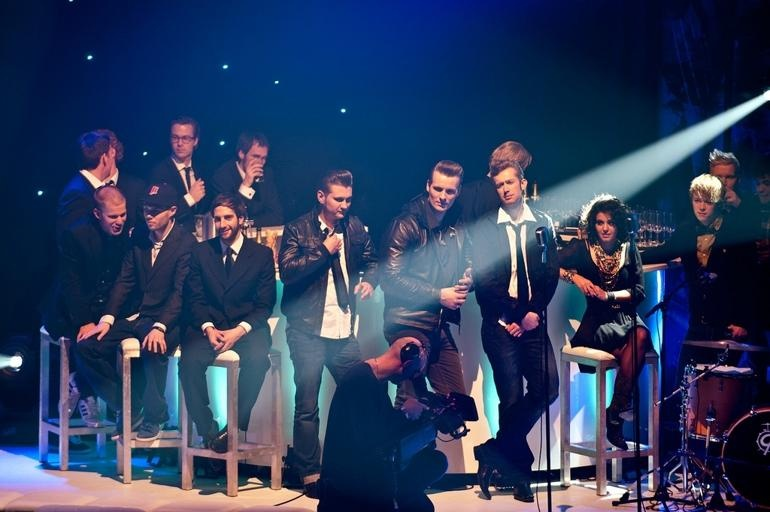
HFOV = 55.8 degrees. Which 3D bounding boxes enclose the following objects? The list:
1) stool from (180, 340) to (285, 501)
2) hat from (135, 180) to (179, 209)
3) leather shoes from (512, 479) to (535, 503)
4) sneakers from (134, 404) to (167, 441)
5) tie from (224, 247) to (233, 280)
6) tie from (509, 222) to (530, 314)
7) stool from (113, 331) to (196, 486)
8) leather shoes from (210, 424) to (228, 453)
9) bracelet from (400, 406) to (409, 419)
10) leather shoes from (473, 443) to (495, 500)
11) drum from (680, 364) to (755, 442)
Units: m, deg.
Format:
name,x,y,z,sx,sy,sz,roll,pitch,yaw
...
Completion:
name,x,y,z,sx,sy,sz,roll,pitch,yaw
stool,-1.497,1.578,7.037,0.897,1.172,0.895,0,-15,-13
hat,-2.260,-0.602,7.159,0.230,0.184,0.316,5,1,26
leather shoes,1.285,2.167,6.684,0.105,0.104,0.247,0,-8,-6
sneakers,-2.303,1.676,7.100,0.174,0.197,0.507,0,-5,-4
tie,-1.505,0.048,7.022,0.106,0.256,0.084,1,8,6
tie,1.287,0.118,6.924,0.140,0.866,0.121,-3,-2,3
stool,-2.270,1.449,7.102,0.878,1.334,0.874,-5,-14,11
leather shoes,-1.532,1.691,6.733,0.195,0.223,0.126,7,11,37
bracelet,0.153,1.193,5.555,0.062,0.088,0.030,-18,-14,-2
leather shoes,0.924,2.008,6.816,0.150,0.493,0.210,0,-27,-2
drum,3.123,1.395,7.059,0.673,0.665,0.685,-2,-2,9
